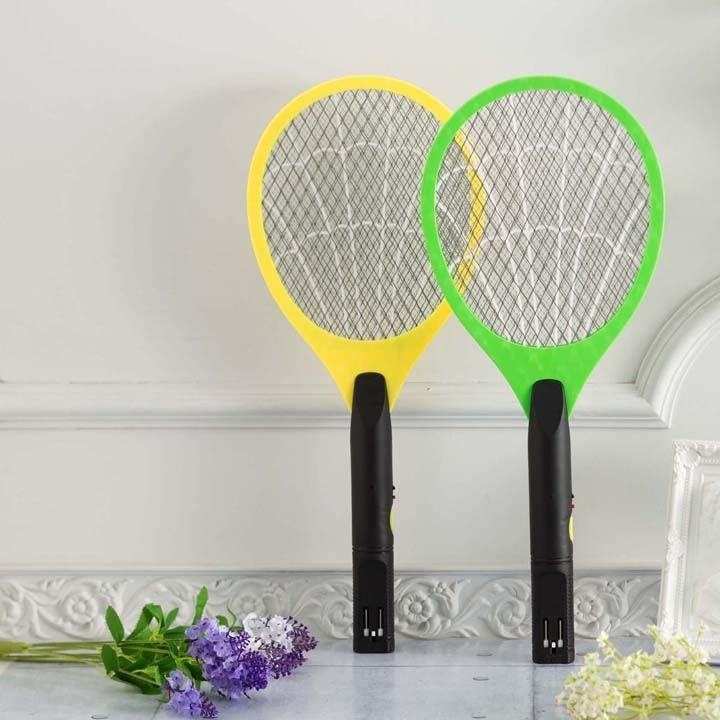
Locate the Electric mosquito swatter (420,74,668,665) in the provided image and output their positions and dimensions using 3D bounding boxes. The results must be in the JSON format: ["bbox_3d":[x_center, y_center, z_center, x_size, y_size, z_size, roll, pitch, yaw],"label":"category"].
[{"bbox_3d":[0.272,0.001,1.587,0.335,0.827,0.293,0,5,14],"label":"Electric mosquito swatter"}]

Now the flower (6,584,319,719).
[{"bbox_3d":[-0.280,0.386,1.503,0.428,0.150,0.254,2,6,28],"label":"flower"}]
